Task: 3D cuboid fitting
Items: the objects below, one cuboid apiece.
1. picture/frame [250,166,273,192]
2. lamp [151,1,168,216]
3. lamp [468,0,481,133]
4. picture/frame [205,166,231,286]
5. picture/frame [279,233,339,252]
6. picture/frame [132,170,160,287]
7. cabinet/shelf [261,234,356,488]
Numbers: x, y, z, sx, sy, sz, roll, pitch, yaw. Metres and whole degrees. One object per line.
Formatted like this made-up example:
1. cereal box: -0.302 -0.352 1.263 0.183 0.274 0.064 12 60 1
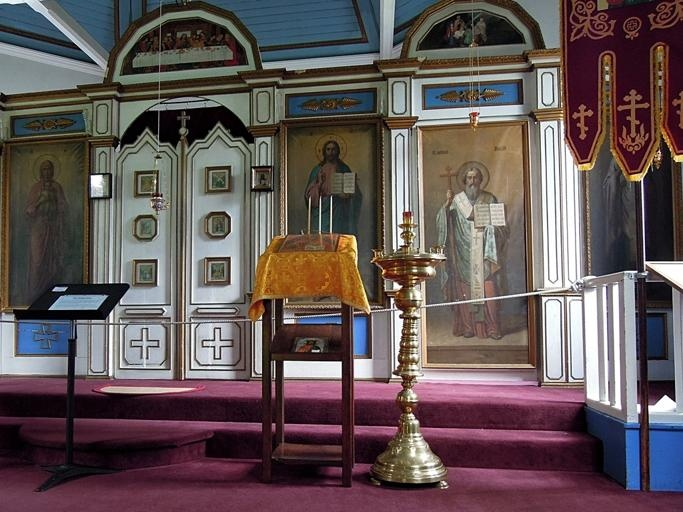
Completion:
1. picture/frame: -0.870 -0.846 9.486 0.269 0.292 0.032 1 -3 7
2. lamp: -2.005 -1.615 9.540 0.184 2.411 0.656 0 -1 -11
3. lamp: 1.410 -2.040 9.220 0.122 1.404 0.236 -1 -1 9
4. picture/frame: -1.366 -0.343 9.578 0.283 1.306 0.130 0 -1 -1
5. picture/frame: -0.247 -0.108 7.042 0.336 0.070 0.166 -3 38 9
6. picture/frame: -2.165 -0.318 9.703 0.359 1.308 0.108 0 -1 9
7. cabinet/shelf: -0.268 0.825 7.125 0.944 2.018 0.590 0 -1 6
